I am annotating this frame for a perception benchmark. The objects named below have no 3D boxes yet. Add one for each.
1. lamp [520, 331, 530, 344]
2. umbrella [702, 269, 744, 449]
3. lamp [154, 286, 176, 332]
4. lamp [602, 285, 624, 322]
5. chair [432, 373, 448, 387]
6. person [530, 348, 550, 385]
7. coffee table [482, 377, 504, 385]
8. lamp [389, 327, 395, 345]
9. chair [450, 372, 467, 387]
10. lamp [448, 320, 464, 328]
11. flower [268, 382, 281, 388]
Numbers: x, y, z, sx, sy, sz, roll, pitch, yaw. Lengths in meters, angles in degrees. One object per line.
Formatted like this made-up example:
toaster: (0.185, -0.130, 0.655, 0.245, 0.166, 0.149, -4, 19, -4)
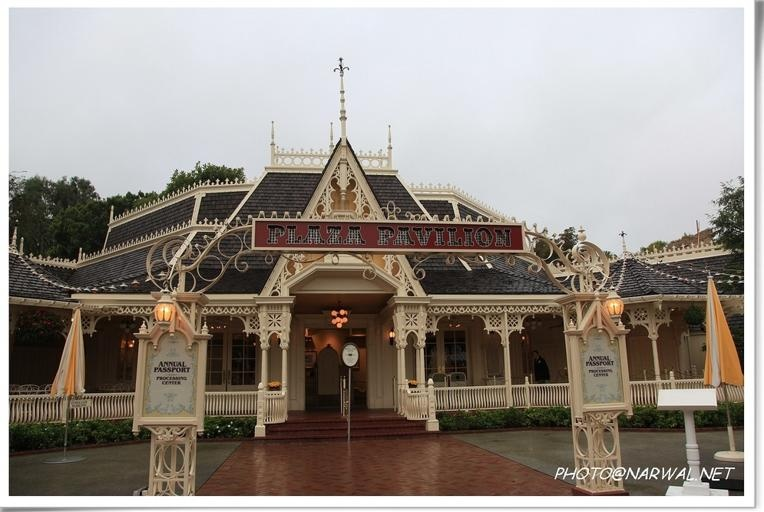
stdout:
lamp: (6.434, 3.594, 26.188, 0.309, 0.580, 0.889, -6, -13, 18)
umbrella: (8.777, 2.699, 15.167, 0.831, 4.766, 2.245, -9, -15, 30)
lamp: (-4.289, 1.059, 11.624, 0.389, 0.822, 0.392, 4, -14, -21)
lamp: (4.942, 1.020, 12.559, 0.428, 0.687, 0.421, -4, 1, -13)
chair: (2.265, 4.834, 23.202, 0.728, 0.719, 0.532, 1, -12, -5)
person: (5.954, 4.126, 21.908, 0.509, 1.188, 1.055, -4, -13, 11)
coffee table: (4.469, 4.887, 23.315, 0.773, 0.302, 0.375, -3, -13, 9)
lamp: (0.385, 3.105, 22.659, 0.198, 0.626, 0.414, -1, -13, -2)
chair: (3.034, 4.892, 23.277, 0.598, 0.594, 0.456, 1, -16, -4)
lamp: (2.953, 2.680, 23.685, 0.403, 0.197, 0.395, -1, -31, -5)
flower: (-3.710, 4.446, 20.294, 0.403, 0.235, 0.698, 2, -13, -13)
